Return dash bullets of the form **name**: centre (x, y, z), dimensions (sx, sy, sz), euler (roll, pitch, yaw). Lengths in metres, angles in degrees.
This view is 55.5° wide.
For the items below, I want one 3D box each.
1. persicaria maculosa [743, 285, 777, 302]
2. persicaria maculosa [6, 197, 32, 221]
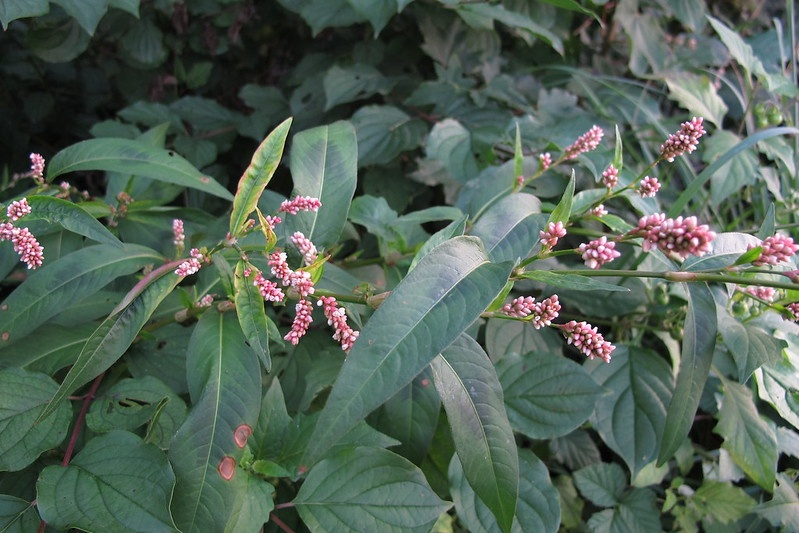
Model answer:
- **persicaria maculosa**: centre (1.325, 0.095, 2.803), dimensions (0.096, 0.064, 0.056), euler (21, -11, 18)
- **persicaria maculosa**: centre (-1.318, -0.196, 2.632), dimensions (0.073, 0.083, 0.048), euler (-7, 7, -6)
